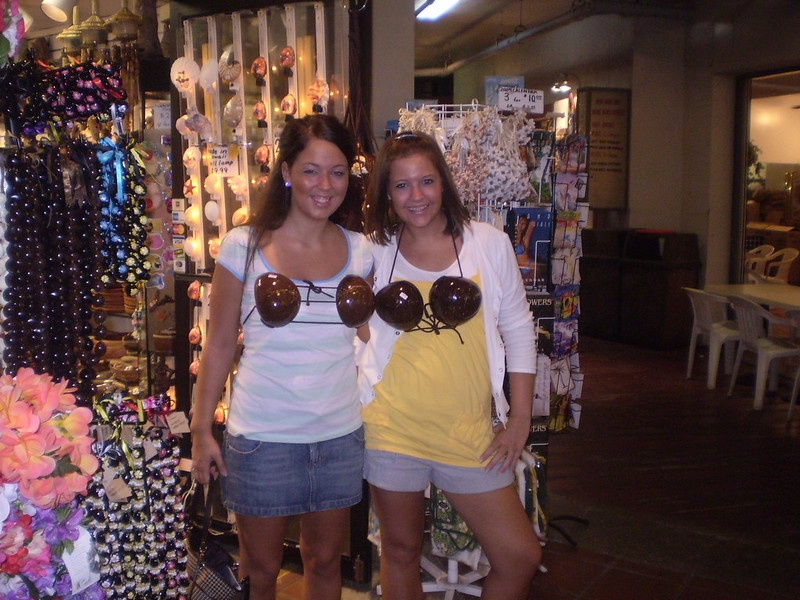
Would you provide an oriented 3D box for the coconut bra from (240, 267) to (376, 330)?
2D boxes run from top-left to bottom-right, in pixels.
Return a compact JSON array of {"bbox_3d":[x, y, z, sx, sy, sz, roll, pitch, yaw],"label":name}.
[{"bbox_3d":[-0.265,-0.007,2.038,0.347,0.176,0.148,2,-10,-16],"label":"coconut bra"}]

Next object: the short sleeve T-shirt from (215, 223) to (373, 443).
[{"bbox_3d":[-0.336,0.102,2.210,0.591,0.789,0.328,2,-4,-26],"label":"short sleeve T-shirt"}]

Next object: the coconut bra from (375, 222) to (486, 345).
[{"bbox_3d":[0.088,-0.097,2.185,0.353,0.517,0.133,-4,11,0],"label":"coconut bra"}]

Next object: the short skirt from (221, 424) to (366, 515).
[{"bbox_3d":[-0.336,0.438,2.085,0.469,0.316,0.269,-1,2,-16],"label":"short skirt"}]

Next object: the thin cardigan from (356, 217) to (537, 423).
[{"bbox_3d":[0.143,0.081,2.224,0.657,0.686,0.367,2,7,8],"label":"thin cardigan"}]
